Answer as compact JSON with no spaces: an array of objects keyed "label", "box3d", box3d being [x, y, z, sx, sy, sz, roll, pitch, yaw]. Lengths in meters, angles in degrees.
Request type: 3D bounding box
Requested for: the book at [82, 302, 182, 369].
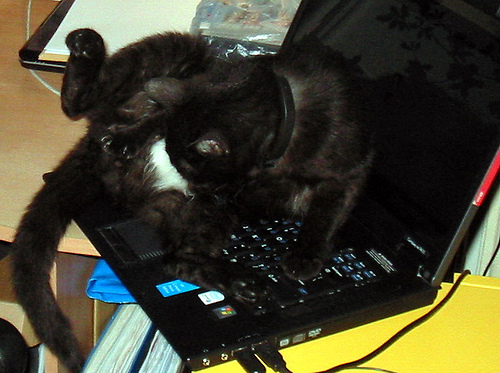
[{"label":"book","box3d":[-0.168,0.224,0.684,0.140,0.028,0.118,-14,33,13]}]
